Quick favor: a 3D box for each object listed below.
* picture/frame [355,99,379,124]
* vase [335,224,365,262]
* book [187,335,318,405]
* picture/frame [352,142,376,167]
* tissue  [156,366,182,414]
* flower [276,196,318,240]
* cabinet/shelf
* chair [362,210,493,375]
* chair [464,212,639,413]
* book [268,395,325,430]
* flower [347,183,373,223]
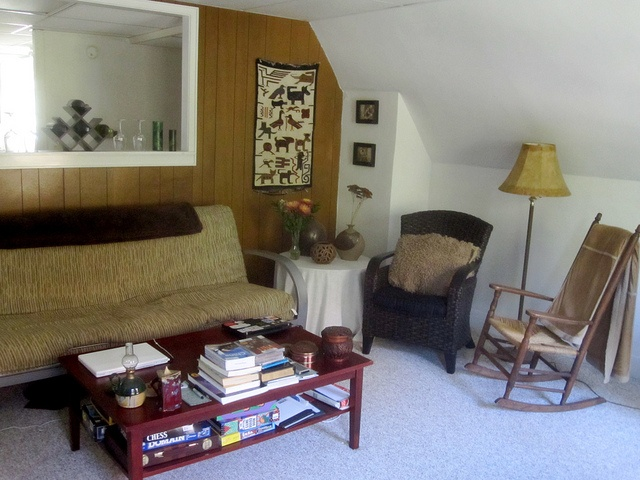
[{"bbox_3d":[0.429,-1.147,4.403,0.023,0.216,0.211,-5,9,-44],"label":"picture/frame"},{"bbox_3d":[0.245,0.033,4.030,0.266,0.326,0.265,2,-2,20],"label":"vase"},{"bbox_3d":[-0.321,0.618,2.371,0.402,0.130,0.296,-7,11,-38],"label":"book"},{"bbox_3d":[0.405,-0.771,4.445,0.202,0.215,0.016,10,11,39],"label":"picture/frame"},{"bbox_3d":[-0.665,0.659,2.182,0.096,0.150,0.137,-5,18,-20],"label":"tissue "},{"bbox_3d":[-0.152,-0.160,3.944,0.266,0.268,0.190,1,10,41],"label":"flower"},{"bbox_3d":[-1.651,-0.790,3.483,0.495,0.365,0.125,-1,-1,1],"label":"cabinet/shelf"},{"bbox_3d":[0.834,0.354,3.846,0.839,1.092,0.782,10,9,41],"label":"chair"},{"bbox_3d":[1.551,0.443,3.246,0.915,1.170,0.645,-4,17,-15],"label":"chair"},{"bbox_3d":[-0.132,0.886,2.544,0.146,0.037,0.147,-10,22,-29],"label":"book"},{"bbox_3d":[0.324,-0.294,4.141,0.226,0.288,0.243,21,15,32],"label":"flower"}]
